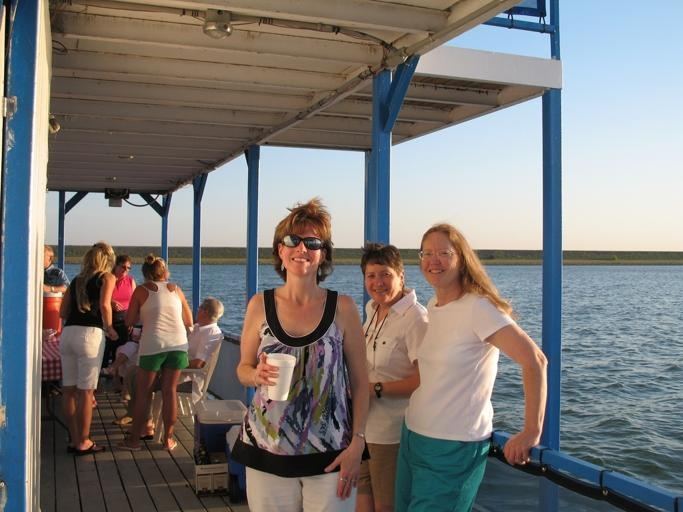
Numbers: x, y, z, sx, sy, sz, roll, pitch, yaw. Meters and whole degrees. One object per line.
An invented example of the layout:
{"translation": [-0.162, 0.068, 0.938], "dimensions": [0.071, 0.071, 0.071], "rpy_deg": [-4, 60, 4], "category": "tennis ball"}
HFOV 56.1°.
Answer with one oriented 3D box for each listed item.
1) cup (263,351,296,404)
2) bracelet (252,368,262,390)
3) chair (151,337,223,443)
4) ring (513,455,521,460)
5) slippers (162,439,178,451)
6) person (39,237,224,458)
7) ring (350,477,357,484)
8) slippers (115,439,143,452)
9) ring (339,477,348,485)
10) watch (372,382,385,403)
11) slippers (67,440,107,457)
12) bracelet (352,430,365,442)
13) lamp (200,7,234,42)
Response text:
{"translation": [-0.268, 0.535, 2.814], "dimensions": [0.128, 0.223, 0.095], "rpy_deg": [-1, 3, -8], "category": "cup"}
{"translation": [-0.367, 0.555, 2.831], "dimensions": [0.053, 0.060, 0.061], "rpy_deg": [2, -3, 1], "category": "bracelet"}
{"translation": [-1.526, 1.323, 6.489], "dimensions": [0.888, 1.234, 0.859], "rpy_deg": [6, -7, -15], "category": "chair"}
{"translation": [0.836, 0.955, 3.042], "dimensions": [0.019, 0.009, 0.026], "rpy_deg": [14, -11, -7], "category": "ring"}
{"translation": [-1.554, 1.691, 5.815], "dimensions": [0.069, 0.101, 0.160], "rpy_deg": [1, 5, -2], "category": "slippers"}
{"translation": [-1.954, 0.801, 6.000], "dimensions": [1.074, 1.848, 1.237], "rpy_deg": [-1, 3, -7], "category": "person"}
{"translation": [0.054, 0.991, 2.837], "dimensions": [0.022, 0.019, 0.027], "rpy_deg": [8, -9, -28], "category": "ring"}
{"translation": [-1.922, 1.694, 5.770], "dimensions": [0.236, 0.073, 0.099], "rpy_deg": [3, -3, 15], "category": "slippers"}
{"translation": [0.007, 0.986, 2.821], "dimensions": [0.025, 0.014, 0.025], "rpy_deg": [2, -3, 0], "category": "ring"}
{"translation": [0.206, 0.753, 3.578], "dimensions": [0.053, 0.100, 0.048], "rpy_deg": [0, 3, 7], "category": "watch"}
{"translation": [-2.243, 1.701, 5.667], "dimensions": [0.328, 0.109, 0.116], "rpy_deg": [7, -4, -36], "category": "slippers"}
{"translation": [0.083, 0.819, 2.903], "dimensions": [0.038, 0.049, 0.020], "rpy_deg": [-13, -30, -25], "category": "bracelet"}
{"translation": [-0.845, -1.551, 4.319], "dimensions": [0.164, 0.166, 0.166], "rpy_deg": [0, 2, 3], "category": "lamp"}
